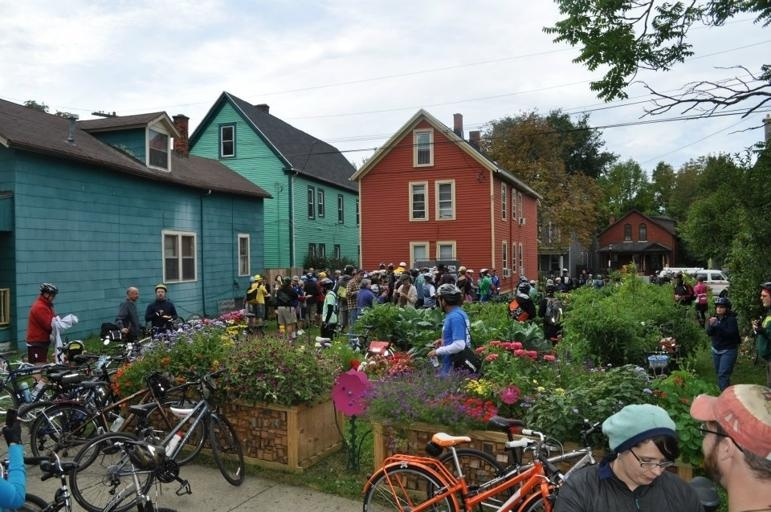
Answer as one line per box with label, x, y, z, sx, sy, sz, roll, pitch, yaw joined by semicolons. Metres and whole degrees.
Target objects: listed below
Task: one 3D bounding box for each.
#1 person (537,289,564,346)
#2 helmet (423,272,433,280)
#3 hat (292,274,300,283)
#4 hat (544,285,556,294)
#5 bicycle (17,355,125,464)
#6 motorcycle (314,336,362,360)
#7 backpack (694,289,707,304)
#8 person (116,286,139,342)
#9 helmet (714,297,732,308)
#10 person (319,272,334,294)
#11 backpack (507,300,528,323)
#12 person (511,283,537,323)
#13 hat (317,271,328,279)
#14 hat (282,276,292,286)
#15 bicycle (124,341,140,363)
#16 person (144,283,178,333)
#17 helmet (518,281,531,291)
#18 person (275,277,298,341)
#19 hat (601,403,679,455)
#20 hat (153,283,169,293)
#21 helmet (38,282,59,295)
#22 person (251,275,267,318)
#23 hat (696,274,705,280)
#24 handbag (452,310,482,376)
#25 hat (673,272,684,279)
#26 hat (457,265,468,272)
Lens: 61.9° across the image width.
person;4.016;1.496;15.501;0.679;1.551;0.527;-8;26;-6
helmet;1.350;0.613;19.820;0.219;0.193;0.253;10;-5;-8
hat;-3.251;0.821;23.655;0.303;0.214;0.421;4;-6;-21
hat;3.947;0.792;15.361;0.233;0.157;0.202;-2;3;-17
bicycle;-4.950;2.425;10.248;2.064;1.256;1.134;-13;7;-26
motorcycle;-0.927;1.699;12.195;0.813;0.384;0.678;7;-13;13
backpack;10.324;1.313;21.042;0.506;0.511;0.522;-1;-4;-15
person;-5.468;1.267;13.747;0.437;1.188;1.982;-4;6;-21
helmet;6.678;0.900;12.784;0.267;0.244;0.201;8;-17;-13
person;-1.774;0.775;19.851;0.489;0.413;0.756;1;-18;-10
backpack;3.239;1.343;15.659;0.245;0.441;0.333;-34;20;6
person;3.524;1.204;16.261;0.562;0.944;0.852;-10;11;-34
hat;-2.251;0.663;23.302;0.339;0.341;0.275;10;9;38
hat;-2.853;0.738;18.746;0.194;0.249;0.248;9;26;-7
bicycle;-4.606;1.749;11.707;0.306;0.293;0.478;-4;-6;-3
person;-4.964;1.199;14.333;0.653;1.100;0.536;-4;15;-34
helmet;3.401;0.712;15.600;0.250;0.227;0.190;-11;7;-31
person;-2.841;1.540;18.779;0.623;1.794;1.462;-2;6;-8
hat;2.687;1.823;6.810;0.600;0.541;0.733;-5;0;-7
hat;-6.013;0.831;17.213;0.419;0.205;0.565;0;-2;-15
helmet;-7.238;0.689;13.831;0.430;0.402;0.349;3;7;-21
person;-3.899;1.314;20.041;0.503;1.403;0.680;-3;6;-12
hat;11.859;0.776;24.208;0.230;0.213;0.399;0;-6;25
handbag;1.295;1.376;10.116;0.455;0.925;0.589;0;6;8
hat;10.847;0.705;23.799;0.326;0.192;0.419;4;0;-5
hat;2.473;0.408;20.423;0.223;0.140;0.292;1;4;0
